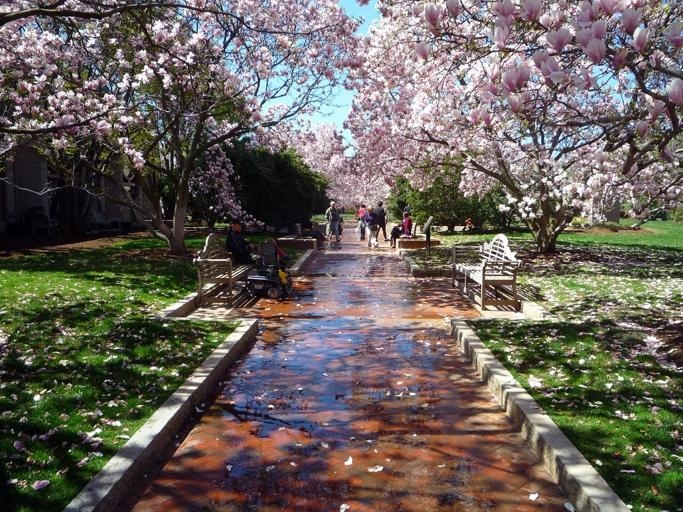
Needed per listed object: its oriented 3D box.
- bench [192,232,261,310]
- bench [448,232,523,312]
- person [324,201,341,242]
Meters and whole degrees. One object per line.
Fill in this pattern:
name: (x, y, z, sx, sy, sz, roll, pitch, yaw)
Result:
bench: (-2.797, 0.246, 10.436, 0.836, 1.547, 2.669, 1, 5, 1)
bench: (3.530, 0.184, 10.686, 1.238, 1.550, 3.604, 4, 7, 10)
person: (-0.600, -2.341, 28.046, 0.869, 2.556, 0.821, -1, 2, -17)
